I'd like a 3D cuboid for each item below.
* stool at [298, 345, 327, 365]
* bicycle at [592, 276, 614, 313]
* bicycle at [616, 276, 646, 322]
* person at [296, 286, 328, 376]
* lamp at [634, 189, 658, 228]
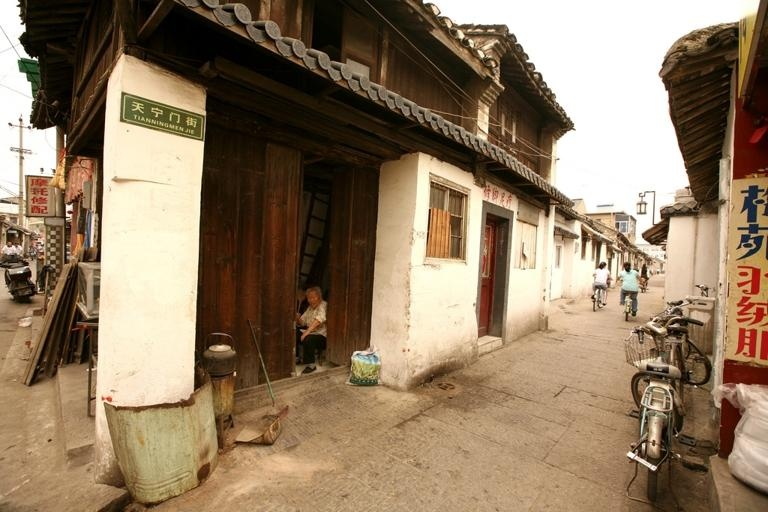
[{"bbox_3d":[-1.203,1.744,9.501,0.448,0.222,0.278,2,-2,-20],"label":"stool"},{"bbox_3d":[6.756,1.315,16.959,0.425,0.548,0.902,2,5,29],"label":"bicycle"},{"bbox_3d":[7.357,1.326,16.342,0.897,1.170,1.931,5,7,19],"label":"bicycle"},{"bbox_3d":[-1.292,1.267,9.527,0.710,1.329,0.606,4,1,33],"label":"person"},{"bbox_3d":[14.709,-2.654,30.888,0.926,1.986,0.438,1,-2,29],"label":"lamp"}]
